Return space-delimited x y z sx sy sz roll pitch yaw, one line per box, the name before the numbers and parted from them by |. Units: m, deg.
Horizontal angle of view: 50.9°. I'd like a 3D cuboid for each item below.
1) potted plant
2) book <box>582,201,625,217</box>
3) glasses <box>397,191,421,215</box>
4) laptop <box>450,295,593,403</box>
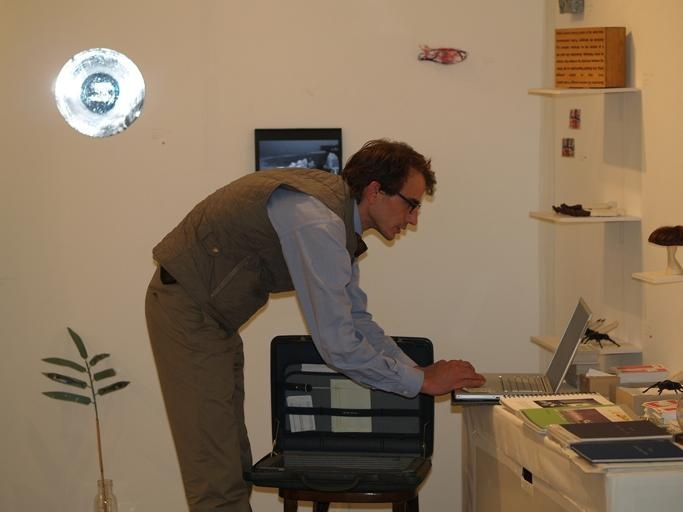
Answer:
potted plant | -1.407 0.904 3.961 0.465 1.047 0.333 -3 -3 -21
book | 1.209 -0.210 3.287 0.172 0.065 0.131 -6 -5 12
glasses | 0.268 -0.211 2.841 0.022 0.076 0.073 -35 -16 6
laptop | 0.766 0.420 3.039 0.444 0.330 0.484 0 -3 9
